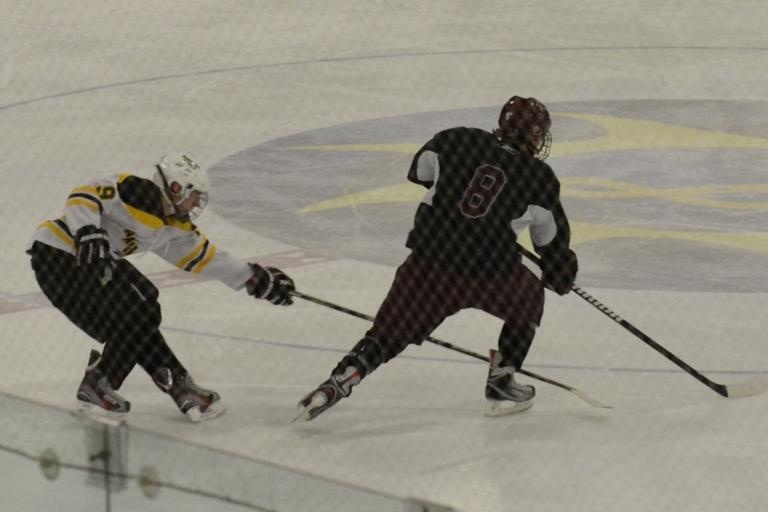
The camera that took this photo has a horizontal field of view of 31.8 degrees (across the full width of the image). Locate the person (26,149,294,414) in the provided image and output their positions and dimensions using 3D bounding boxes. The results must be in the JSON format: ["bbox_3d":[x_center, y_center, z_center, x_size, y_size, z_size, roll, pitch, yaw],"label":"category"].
[{"bbox_3d":[-1.210,0.184,7.308,1.214,1.229,0.910,-14,39,-14],"label":"person"}]

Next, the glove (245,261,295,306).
[{"bbox_3d":[-0.651,0.155,7.630,0.295,0.189,0.097,21,27,-8],"label":"glove"}]

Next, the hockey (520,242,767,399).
[{"bbox_3d":[1.511,0.412,7.892,1.675,0.131,0.182,26,35,12],"label":"hockey"}]
